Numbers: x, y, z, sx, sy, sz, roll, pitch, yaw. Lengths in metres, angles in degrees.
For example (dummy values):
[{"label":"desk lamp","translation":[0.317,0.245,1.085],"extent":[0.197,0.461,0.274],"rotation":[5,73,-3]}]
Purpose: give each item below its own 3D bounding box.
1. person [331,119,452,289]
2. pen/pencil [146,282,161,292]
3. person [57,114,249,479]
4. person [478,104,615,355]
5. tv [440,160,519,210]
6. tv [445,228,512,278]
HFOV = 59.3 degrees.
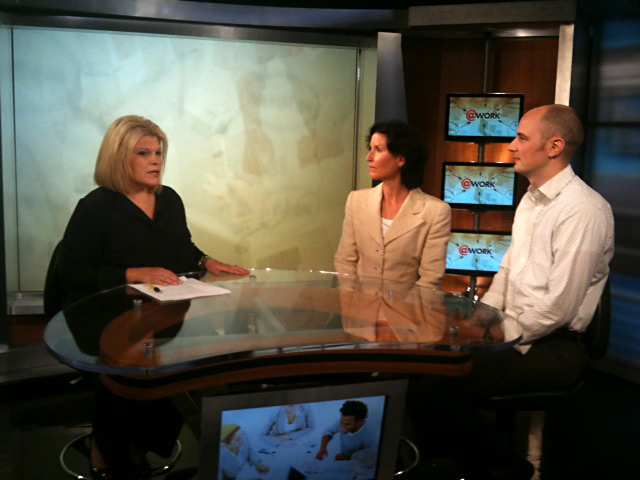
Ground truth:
[{"label":"person","translation":[0.450,-0.242,3.580],"extent":[0.730,0.994,0.509],"rotation":[1,16,12]},{"label":"pen/pencil","translation":[-0.834,0.236,2.803],"extent":[0.029,0.029,0.132],"rotation":[-23,23,-24]},{"label":"person","translation":[-1.092,0.246,3.228],"extent":[0.916,1.855,1.020],"rotation":[-10,17,-25]},{"label":"person","translation":[1.198,-0.072,2.834],"extent":[0.496,1.176,0.605],"rotation":[2,16,18]},{"label":"tv","translation":[1.309,-0.443,4.614],"extent":[0.561,0.339,0.140],"rotation":[1,4,6]},{"label":"tv","translation":[1.255,0.103,4.476],"extent":[0.423,0.272,0.052],"rotation":[6,5,6]}]
